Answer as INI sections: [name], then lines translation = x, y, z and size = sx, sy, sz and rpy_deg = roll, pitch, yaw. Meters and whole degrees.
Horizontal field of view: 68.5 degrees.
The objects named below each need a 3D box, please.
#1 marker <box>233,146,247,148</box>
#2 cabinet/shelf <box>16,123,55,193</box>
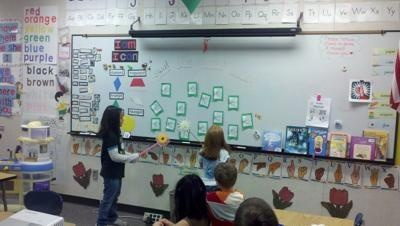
[marker]
translation = 0.743, 0.625, 5.331
size = 0.168, 0.042, 0.028
rpy_deg = 1, -28, 12
[cabinet/shelf]
translation = -3.308, 0.911, 5.940
size = 0.681, 1.405, 0.680
rpy_deg = 0, -1, -13
